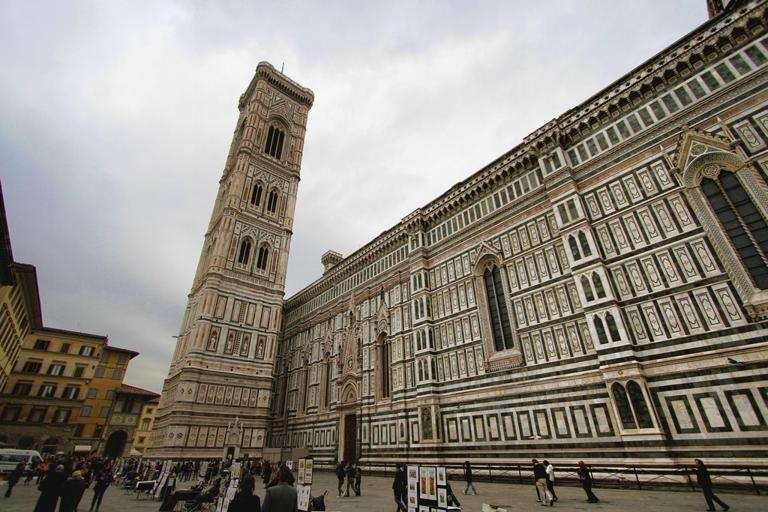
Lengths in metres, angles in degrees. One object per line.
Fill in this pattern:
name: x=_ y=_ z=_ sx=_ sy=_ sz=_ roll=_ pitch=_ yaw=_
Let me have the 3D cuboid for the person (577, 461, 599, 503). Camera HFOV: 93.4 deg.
person: x=8.111 y=8.880 z=14.417 sx=0.469 sy=1.370 sz=1.633 roll=-15 pitch=-35 yaw=21

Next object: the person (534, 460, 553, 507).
person: x=6.108 y=8.631 z=13.935 sx=0.537 sy=1.462 sz=0.867 roll=-11 pitch=-35 yaw=16
